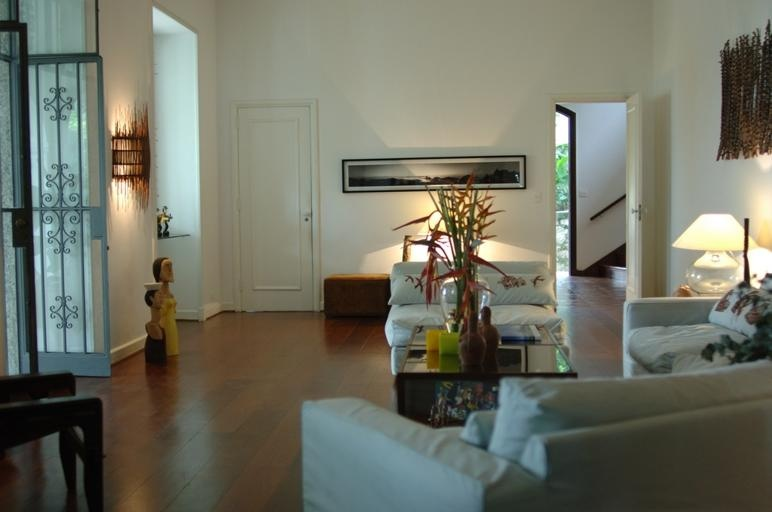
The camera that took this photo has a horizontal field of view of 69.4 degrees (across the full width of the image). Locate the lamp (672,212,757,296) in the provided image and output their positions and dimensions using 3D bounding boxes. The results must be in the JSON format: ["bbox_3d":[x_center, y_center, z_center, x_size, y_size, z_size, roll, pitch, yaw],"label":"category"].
[{"bbox_3d":[2.734,-0.002,4.848,0.633,0.670,0.646,1,-3,-15],"label":"lamp"}]

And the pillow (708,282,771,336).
[{"bbox_3d":[2.218,0.334,3.477,0.095,0.317,0.316,29,-6,-18],"label":"pillow"}]

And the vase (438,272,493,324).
[{"bbox_3d":[0.517,0.286,3.411,0.345,0.391,0.352,-2,-7,35],"label":"vase"}]

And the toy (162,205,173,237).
[{"bbox_3d":[-2.539,-0.395,6.382,0.133,0.336,0.280,-3,5,-22],"label":"toy"}]

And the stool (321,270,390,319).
[{"bbox_3d":[-0.385,0.570,6.636,0.764,0.509,0.442,1,-21,-9],"label":"stool"}]

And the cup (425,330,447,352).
[{"bbox_3d":[0.308,0.512,3.401,0.113,0.125,0.120,0,1,0],"label":"cup"}]

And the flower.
[{"bbox_3d":[0.416,0.006,3.139,0.521,0.775,0.476,7,24,16],"label":"flower"}]

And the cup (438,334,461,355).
[{"bbox_3d":[0.375,0.506,3.255,0.108,0.091,0.117,0,1,0],"label":"cup"}]
